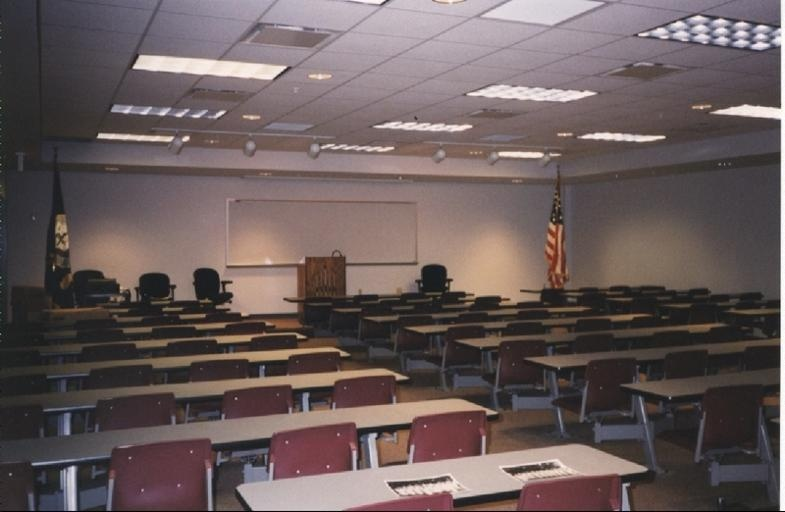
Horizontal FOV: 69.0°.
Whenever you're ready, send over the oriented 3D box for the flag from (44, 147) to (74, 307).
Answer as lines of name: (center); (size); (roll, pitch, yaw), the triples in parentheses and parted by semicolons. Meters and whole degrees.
flag: (-6.616, -0.704, 11.142); (0.403, 2.553, 0.398); (-1, -27, -36)
